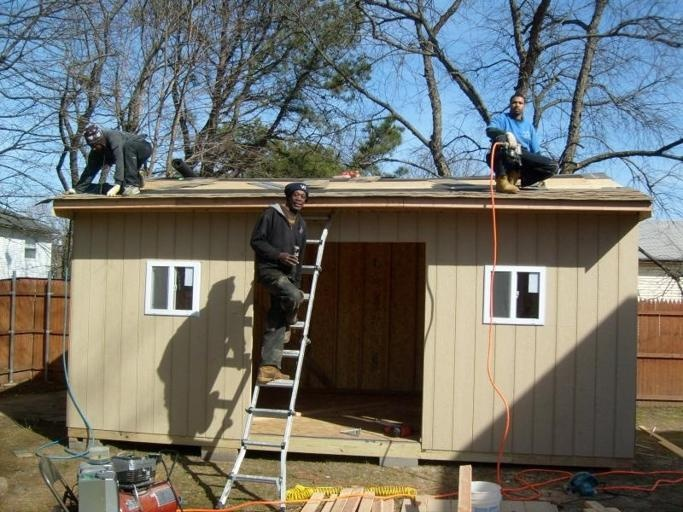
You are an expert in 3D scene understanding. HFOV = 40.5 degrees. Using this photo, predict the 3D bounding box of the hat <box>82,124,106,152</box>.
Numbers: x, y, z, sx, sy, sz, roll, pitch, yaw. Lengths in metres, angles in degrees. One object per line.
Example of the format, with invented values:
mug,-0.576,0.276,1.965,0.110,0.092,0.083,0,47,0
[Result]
hat,-3.900,-1.880,14.696,0.323,0.402,0.322,1,-3,-14

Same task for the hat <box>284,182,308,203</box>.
hat,-0.649,-0.909,13.222,0.293,0.191,0.219,-7,-2,1

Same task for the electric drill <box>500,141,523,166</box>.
electric drill,2.535,-1.528,13.800,0.313,0.290,0.141,5,5,-20

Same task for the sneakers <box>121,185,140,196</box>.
sneakers,-3.230,-1.000,14.255,0.342,0.133,0.141,3,-5,-17

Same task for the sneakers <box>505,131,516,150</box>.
sneakers,2.528,-1.707,13.797,0.167,0.212,0.067,-8,2,11

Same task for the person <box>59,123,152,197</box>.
person,-3.606,-1.489,14.950,1.031,1.003,1.256,7,4,38

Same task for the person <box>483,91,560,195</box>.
person,2.644,-1.693,14.089,1.074,1.600,0.783,2,-3,-23

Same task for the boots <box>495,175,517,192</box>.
boots,2.447,-1.043,13.683,0.340,0.253,0.158,0,-3,5
